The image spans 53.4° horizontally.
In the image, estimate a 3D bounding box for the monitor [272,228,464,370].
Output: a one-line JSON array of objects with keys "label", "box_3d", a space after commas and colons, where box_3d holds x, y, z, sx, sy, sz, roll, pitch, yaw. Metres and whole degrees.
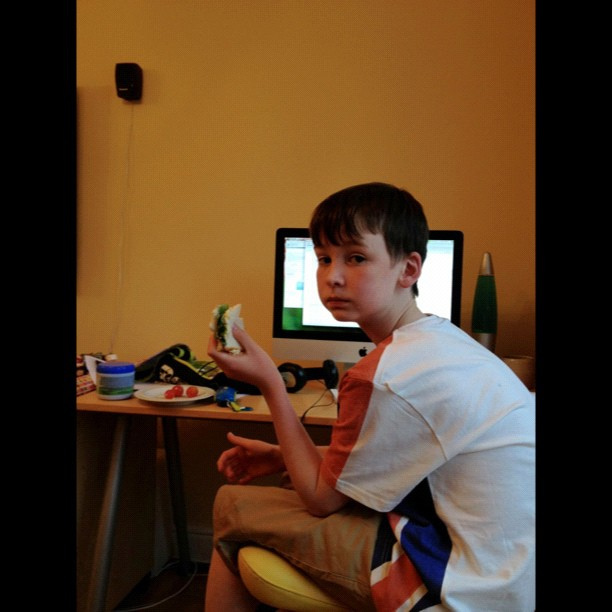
[{"label": "monitor", "box_3d": [0.119, -0.014, 1.134, 0.285, 0.324, 0.105, -1, -6, 13]}]

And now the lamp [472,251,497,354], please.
[{"label": "lamp", "box_3d": [0.446, -0.008, 1.524, 0.056, 0.248, 0.130, 1, 2, 17]}]

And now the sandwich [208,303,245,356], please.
[{"label": "sandwich", "box_3d": [-0.148, 0.044, 1.141, 0.064, 0.035, 0.119, -11, 48, -10]}]
